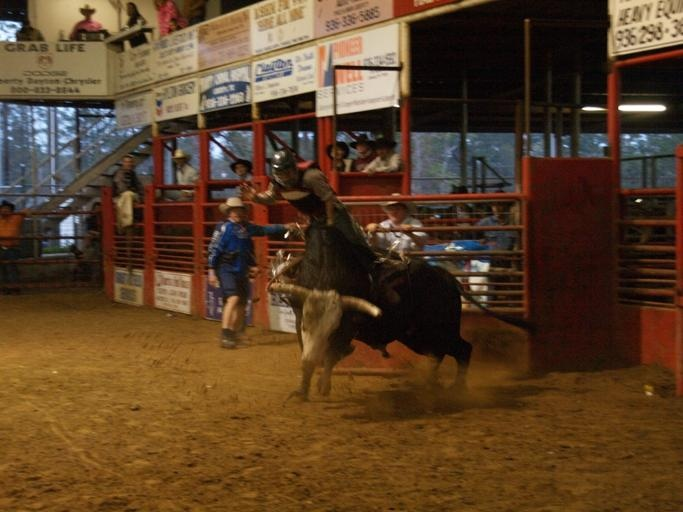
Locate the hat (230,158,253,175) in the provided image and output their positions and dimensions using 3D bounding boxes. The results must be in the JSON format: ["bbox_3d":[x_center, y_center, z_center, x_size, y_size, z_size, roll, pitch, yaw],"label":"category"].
[{"bbox_3d":[-1.794,-1.628,11.881,0.438,0.113,0.353,-2,-24,-1],"label":"hat"}]

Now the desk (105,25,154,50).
[{"bbox_3d":[-4.890,-5.136,15.469,1.431,0.483,0.411,6,12,34],"label":"desk"}]

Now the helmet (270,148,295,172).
[{"bbox_3d":[-0.566,-0.956,6.524,0.237,0.214,0.222,-1,10,-5],"label":"helmet"}]

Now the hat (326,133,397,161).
[{"bbox_3d":[0.428,-1.753,10.533,0.895,0.226,0.806,-5,-9,21],"label":"hat"}]

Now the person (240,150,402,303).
[{"bbox_3d":[-0.180,-0.296,6.780,1.607,1.590,0.461,1,12,2],"label":"person"}]
